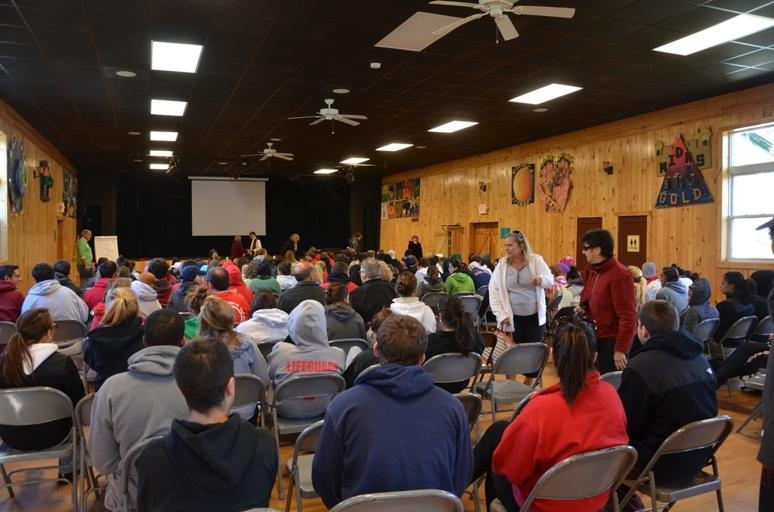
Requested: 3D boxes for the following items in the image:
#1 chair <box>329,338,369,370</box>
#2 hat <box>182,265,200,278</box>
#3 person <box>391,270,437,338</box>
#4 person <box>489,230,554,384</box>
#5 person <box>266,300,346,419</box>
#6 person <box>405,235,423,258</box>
[{"bbox_3d":[-0.348,0.963,5.187,0.266,0.423,0.300,0,7,-18],"label":"chair"},{"bbox_3d":[-2.587,0.204,6.943,0.152,0.180,0.195,3,17,13],"label":"hat"},{"bbox_3d":[0.266,0.498,5.491,0.479,0.838,0.602,-1,7,-6],"label":"person"},{"bbox_3d":[1.555,0.687,6.077,0.728,1.821,0.862,-3,0,23],"label":"person"},{"bbox_3d":[-0.701,0.931,4.755,0.766,1.035,0.527,-1,8,-32],"label":"person"},{"bbox_3d":[0.952,-0.281,17.171,0.410,0.761,1.122,-1,0,8],"label":"person"}]
